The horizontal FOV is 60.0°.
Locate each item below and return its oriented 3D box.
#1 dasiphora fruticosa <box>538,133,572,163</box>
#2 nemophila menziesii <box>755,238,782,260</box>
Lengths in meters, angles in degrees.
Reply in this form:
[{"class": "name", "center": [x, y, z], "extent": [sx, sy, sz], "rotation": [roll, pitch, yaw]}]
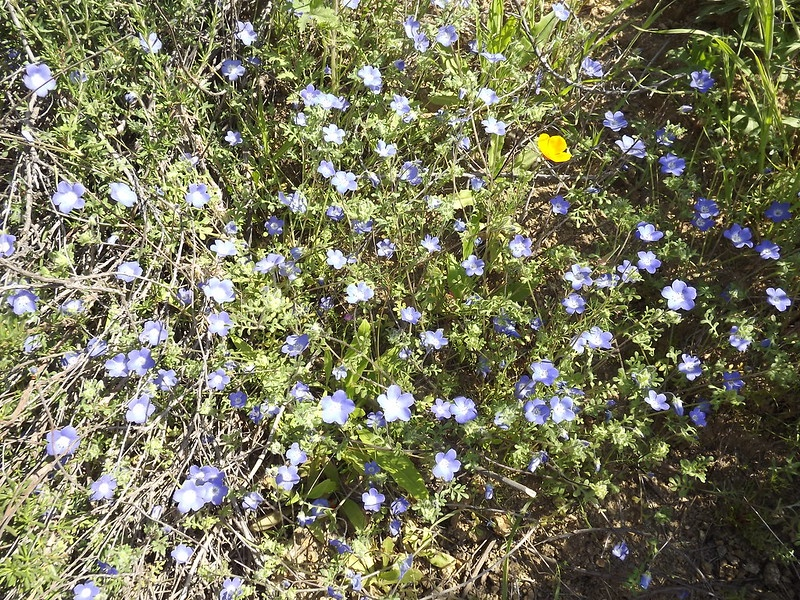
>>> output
[{"class": "dasiphora fruticosa", "center": [0.937, -0.914, 4.182], "extent": [0.172, 0.096, 0.205], "rotation": [2, 83, -21]}, {"class": "nemophila menziesii", "center": [2.083, -0.288, 3.934], "extent": [0.101, 0.031, 0.122], "rotation": [15, 69, 10]}]
